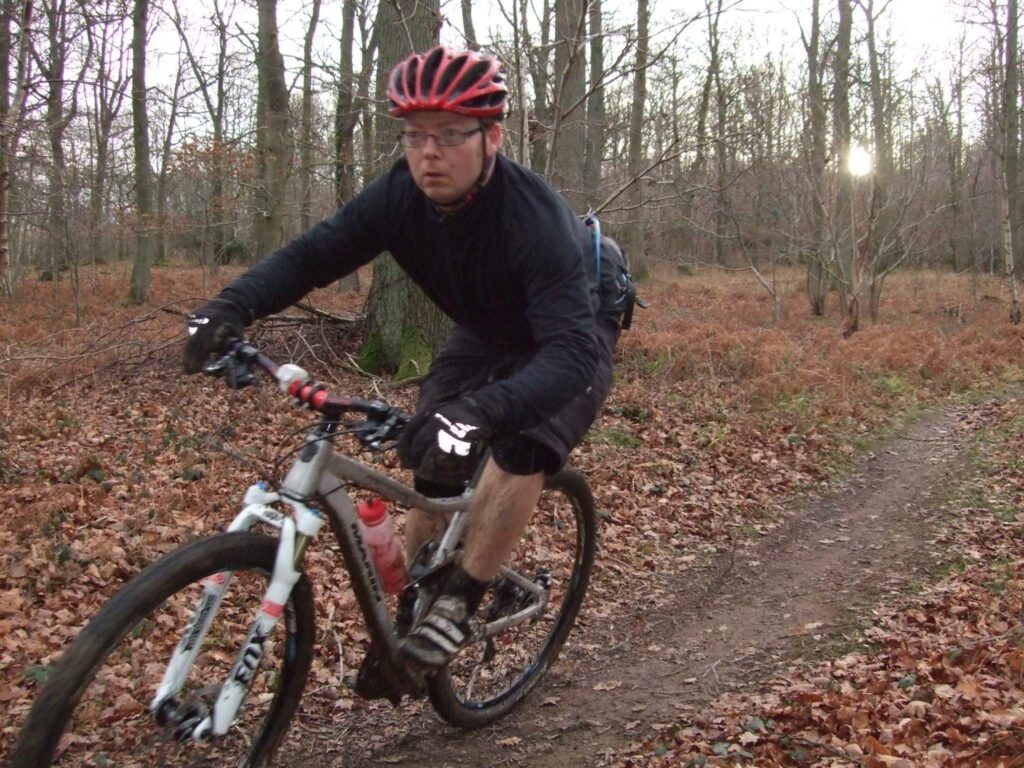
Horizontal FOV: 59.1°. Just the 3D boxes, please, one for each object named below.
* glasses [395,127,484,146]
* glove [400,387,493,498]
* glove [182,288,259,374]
[{"bbox_3d":[-0.430,-1.521,5.548,0.494,0.145,0.083,1,4,1],"label":"glasses"},{"bbox_3d":[-0.420,0.308,5.400,0.610,0.471,0.248,-39,27,-20],"label":"glove"},{"bbox_3d":[-1.796,-0.319,5.446,0.354,0.481,0.142,24,-15,42],"label":"glove"}]
